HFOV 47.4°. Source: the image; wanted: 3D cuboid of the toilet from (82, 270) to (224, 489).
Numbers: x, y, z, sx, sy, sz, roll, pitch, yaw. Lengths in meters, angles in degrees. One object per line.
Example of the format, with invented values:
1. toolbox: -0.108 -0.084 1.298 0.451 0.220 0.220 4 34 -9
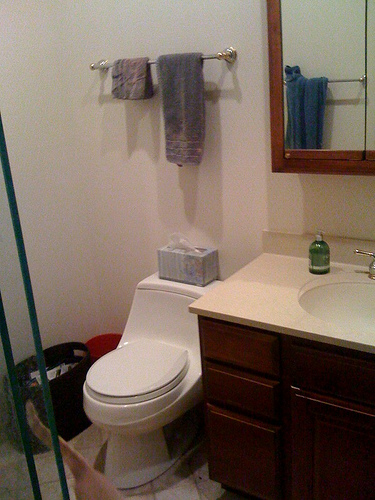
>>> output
1. toilet: -0.130 0.471 1.591 0.307 0.640 0.522 8 18 29

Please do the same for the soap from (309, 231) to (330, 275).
1. soap: 0.407 -0.003 1.325 0.062 0.129 0.115 1 16 19
